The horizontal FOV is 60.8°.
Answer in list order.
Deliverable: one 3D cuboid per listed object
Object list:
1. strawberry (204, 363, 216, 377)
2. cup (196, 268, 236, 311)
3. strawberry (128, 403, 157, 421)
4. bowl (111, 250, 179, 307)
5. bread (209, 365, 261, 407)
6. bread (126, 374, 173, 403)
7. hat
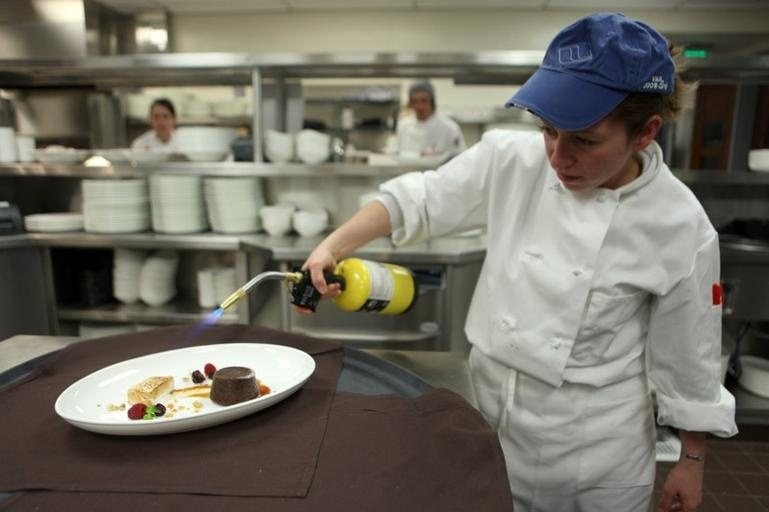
[{"bbox_3d":[-0.656,0.425,2.448,0.045,0.047,0.044,3,7,10],"label":"strawberry"},{"bbox_3d":[-1.033,0.199,3.989,0.255,0.230,0.232,0,0,0],"label":"cup"},{"bbox_3d":[-0.843,0.533,2.281,0.074,0.041,0.055,13,-3,4],"label":"strawberry"},{"bbox_3d":[-1.473,0.124,4.081,0.378,0.359,0.362,3,14,-1],"label":"bowl"},{"bbox_3d":[-0.553,0.466,2.396,0.191,0.094,0.186,-1,10,-12],"label":"bread"},{"bbox_3d":[-0.839,0.478,2.353,0.069,0.072,0.160,7,13,38],"label":"bread"},{"bbox_3d":[0.722,-0.645,2.304,0.568,0.256,0.365,-12,23,-18],"label":"hat"}]
